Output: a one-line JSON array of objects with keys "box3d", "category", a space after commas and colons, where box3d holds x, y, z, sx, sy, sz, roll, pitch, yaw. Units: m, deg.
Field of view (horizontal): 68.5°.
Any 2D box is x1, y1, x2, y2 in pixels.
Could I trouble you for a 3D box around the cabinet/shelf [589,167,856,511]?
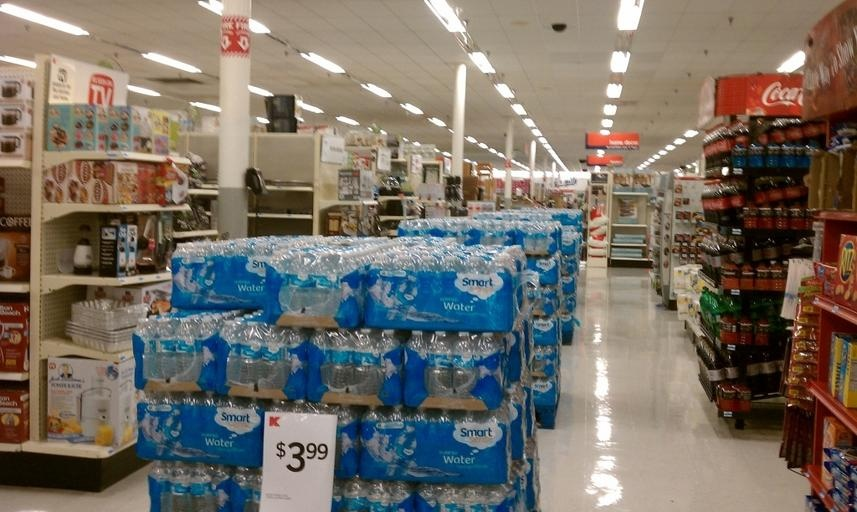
[{"box3d": [3.172, 0.931, 6.836, 1.205, 3.715, 3.871, 1, 2, 2], "category": "cabinet/shelf"}]
